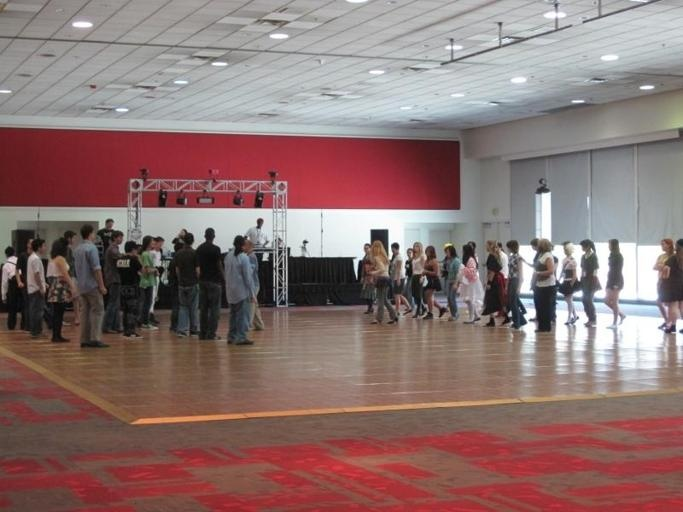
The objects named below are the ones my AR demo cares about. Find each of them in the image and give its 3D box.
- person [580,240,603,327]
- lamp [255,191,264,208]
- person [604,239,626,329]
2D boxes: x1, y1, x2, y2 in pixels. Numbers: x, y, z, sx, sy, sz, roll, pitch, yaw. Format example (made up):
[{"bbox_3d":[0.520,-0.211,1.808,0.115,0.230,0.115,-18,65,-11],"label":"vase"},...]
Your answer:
[{"bbox_3d":[5.711,0.605,13.398,0.407,1.983,0.851,0,-1,22],"label":"person"},{"bbox_3d":[-2.776,-1.885,19.777,0.262,0.510,1.255,0,-1,-11],"label":"lamp"},{"bbox_3d":[6.260,0.624,13.361,0.369,1.962,1.586,0,-1,25],"label":"person"}]
